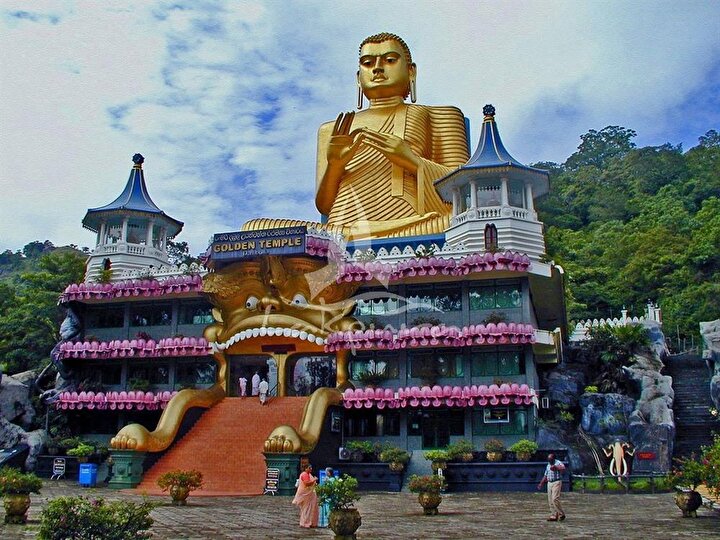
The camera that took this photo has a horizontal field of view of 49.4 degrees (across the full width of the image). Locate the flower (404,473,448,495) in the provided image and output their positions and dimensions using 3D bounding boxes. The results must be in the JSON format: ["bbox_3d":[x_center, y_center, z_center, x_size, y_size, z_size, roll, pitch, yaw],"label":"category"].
[{"bbox_3d":[1.998,6.663,24.475,0.856,0.540,0.780,8,-11,-27],"label":"flower"}]

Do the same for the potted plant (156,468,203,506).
[{"bbox_3d":[-6.087,7.272,26.700,1.266,0.985,1.255,3,-10,-11],"label":"potted plant"}]

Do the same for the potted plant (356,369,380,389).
[{"bbox_3d":[0.472,5.103,37.433,0.673,0.810,1.354,9,-16,-40],"label":"potted plant"}]

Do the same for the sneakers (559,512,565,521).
[{"bbox_3d":[6.012,7.340,23.336,0.149,0.211,0.206,-3,-10,25],"label":"sneakers"}]

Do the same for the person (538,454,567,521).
[{"bbox_3d":[5.919,6.573,23.899,0.597,1.925,1.414,-3,-12,13],"label":"person"}]

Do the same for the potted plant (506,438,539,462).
[{"bbox_3d":[6.927,7.524,32.881,0.860,0.663,0.850,-16,-34,39],"label":"potted plant"}]

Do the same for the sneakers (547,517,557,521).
[{"bbox_3d":[5.703,7.383,23.303,0.283,0.123,0.108,-5,-15,31],"label":"sneakers"}]

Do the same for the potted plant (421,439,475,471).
[{"bbox_3d":[3.704,7.750,32.931,1.556,0.976,1.415,0,-13,-6],"label":"potted plant"}]

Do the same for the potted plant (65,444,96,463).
[{"bbox_3d":[-12.727,8.436,36.092,0.865,0.656,0.866,2,-14,-3],"label":"potted plant"}]

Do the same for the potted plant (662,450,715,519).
[{"bbox_3d":[10.033,6.595,23.874,0.718,1.707,1.272,5,-13,-25],"label":"potted plant"}]

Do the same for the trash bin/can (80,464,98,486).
[{"bbox_3d":[-11.384,8.500,32.619,0.644,0.854,0.537,-1,-12,0],"label":"trash bin/can"}]

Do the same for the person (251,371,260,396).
[{"bbox_3d":[-5.080,5.593,38.114,0.304,1.039,0.961,1,-12,-9],"label":"person"}]

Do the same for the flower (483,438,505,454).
[{"bbox_3d":[5.729,7.412,33.171,0.612,0.507,0.674,-2,-7,37],"label":"flower"}]

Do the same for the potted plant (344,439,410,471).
[{"bbox_3d":[0.822,8.010,33.900,2.052,1.216,2.765,10,-16,-42],"label":"potted plant"}]
